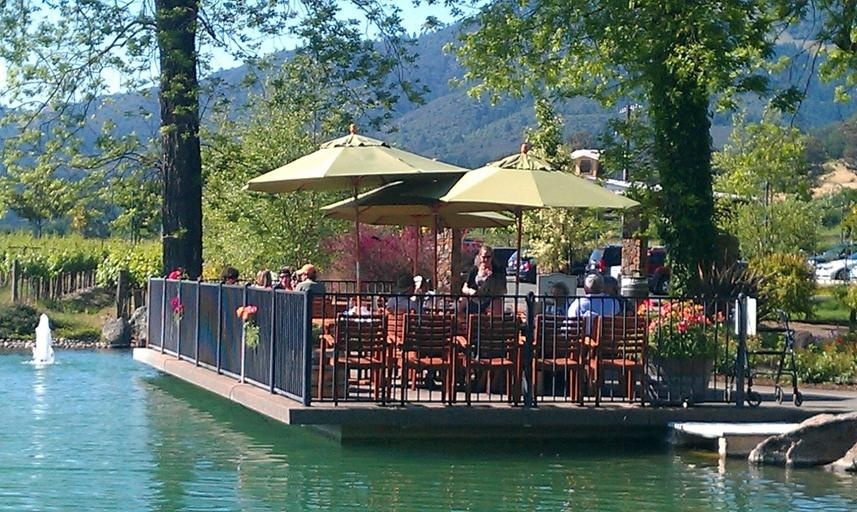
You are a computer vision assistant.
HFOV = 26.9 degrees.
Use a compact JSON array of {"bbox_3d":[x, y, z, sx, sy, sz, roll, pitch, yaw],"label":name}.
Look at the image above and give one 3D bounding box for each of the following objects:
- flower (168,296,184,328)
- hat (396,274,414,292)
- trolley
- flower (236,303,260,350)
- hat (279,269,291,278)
[{"bbox_3d":[-8.348,1.901,60.020,0.489,0.706,0.839,-9,-14,3],"label":"flower"},{"bbox_3d":[-0.752,0.886,57.480,0.595,0.595,0.603,0,-7,-1],"label":"hat"},{"bbox_3d":[10.640,3.029,56.508,1.839,3.026,2.683,-3,10,-11],"label":"trolley"},{"bbox_3d":[-5.555,2.279,56.027,0.573,1.297,0.838,-2,1,-44],"label":"flower"},{"bbox_3d":[-4.574,0.597,57.152,0.292,0.262,0.266,-3,-4,42],"label":"hat"}]
